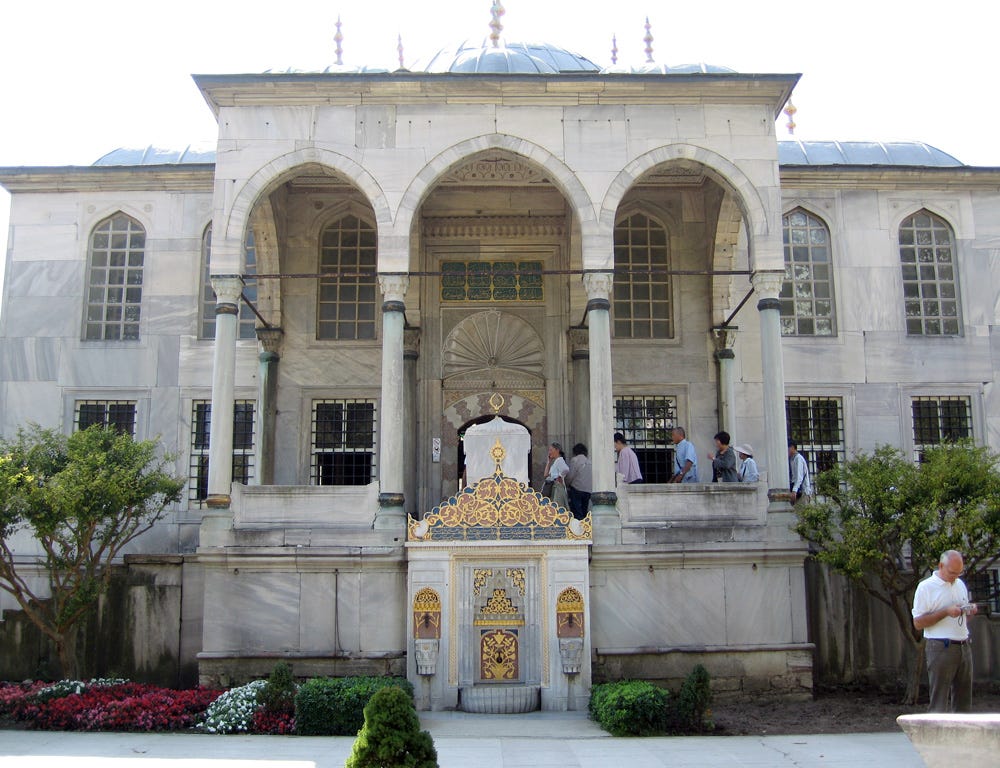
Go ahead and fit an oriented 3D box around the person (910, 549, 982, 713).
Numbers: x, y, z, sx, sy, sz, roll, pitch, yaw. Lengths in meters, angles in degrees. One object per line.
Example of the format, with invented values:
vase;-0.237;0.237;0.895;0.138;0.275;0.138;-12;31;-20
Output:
person;5.867;3.236;15.435;0.747;2.084;0.675;6;-12;-39

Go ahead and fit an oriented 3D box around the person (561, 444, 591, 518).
person;1.456;1.834;22.347;0.477;1.468;1.083;-2;-9;3

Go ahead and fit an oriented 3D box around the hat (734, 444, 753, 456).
hat;4.498;1.238;21.869;0.331;0.103;0.348;26;-3;8

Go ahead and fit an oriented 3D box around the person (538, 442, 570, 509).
person;1.051;1.826;23.099;0.514;1.780;0.642;7;-20;-16

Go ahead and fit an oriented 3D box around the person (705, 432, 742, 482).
person;4.126;1.352;21.849;0.452;0.993;1.051;-3;-9;10

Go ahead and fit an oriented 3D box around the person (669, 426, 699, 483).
person;3.431;1.344;22.205;0.402;1.057;0.878;-2;-9;6
